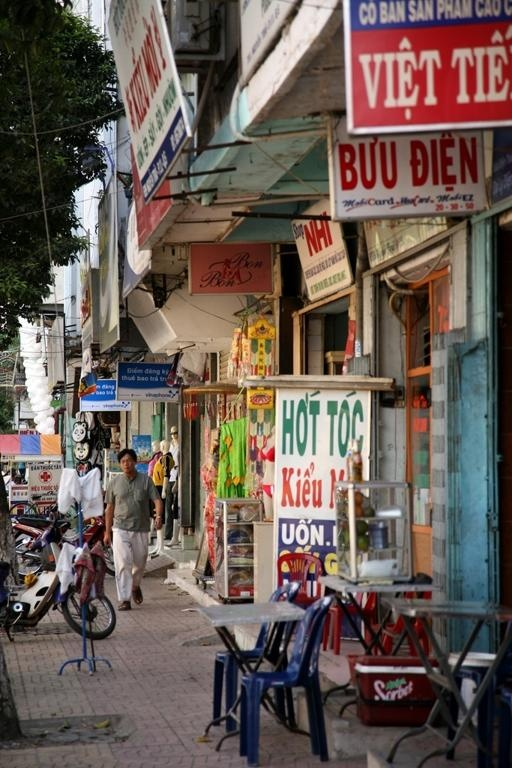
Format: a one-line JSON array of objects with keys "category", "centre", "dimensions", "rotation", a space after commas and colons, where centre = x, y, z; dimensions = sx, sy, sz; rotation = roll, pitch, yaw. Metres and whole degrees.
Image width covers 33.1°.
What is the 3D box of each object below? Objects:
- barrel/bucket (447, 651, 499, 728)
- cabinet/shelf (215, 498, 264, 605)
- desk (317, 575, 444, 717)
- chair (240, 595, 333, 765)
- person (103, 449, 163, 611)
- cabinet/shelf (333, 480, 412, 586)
[{"category": "barrel/bucket", "centre": [1.024, 1.476, 4.074], "dimensions": [0.166, 0.294, 0.181], "rotation": [7, -11, 1]}, {"category": "cabinet/shelf", "centre": [-0.237, 1.685, 9.169], "dimensions": [0.483, 1.089, 0.499], "rotation": [-6, 2, -33]}, {"category": "desk", "centre": [0.812, 1.686, 5.333], "dimensions": [0.781, 0.910, 0.704], "rotation": [-11, -32, 21]}, {"category": "chair", "centre": [0.127, 1.436, 4.468], "dimensions": [0.487, 0.834, 0.518], "rotation": [2, 3, -10]}, {"category": "person", "centre": [-1.488, 1.608, 10.048], "dimensions": [0.675, 1.944, 0.624], "rotation": [-2, 4, -40]}, {"category": "cabinet/shelf", "centre": [0.725, 0.876, 5.121], "dimensions": [0.361, 0.652, 0.427], "rotation": [0, 1, -15]}]
